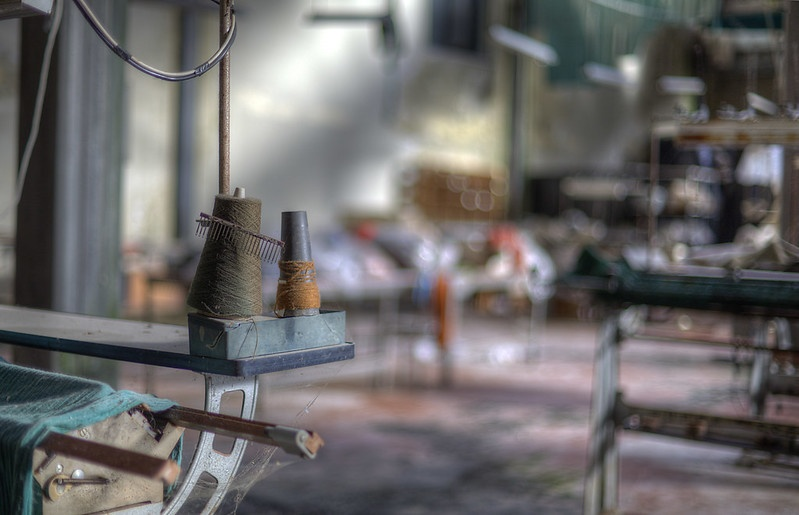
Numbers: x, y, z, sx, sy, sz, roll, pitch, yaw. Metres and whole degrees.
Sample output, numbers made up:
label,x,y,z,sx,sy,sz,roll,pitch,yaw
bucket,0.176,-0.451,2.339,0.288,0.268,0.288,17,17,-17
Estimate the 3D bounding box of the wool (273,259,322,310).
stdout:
label,x,y,z,sx,sy,sz,roll,pitch,yaw
wool,-0.552,0.159,5.197,0.240,0.276,0.206,-1,15,-5
